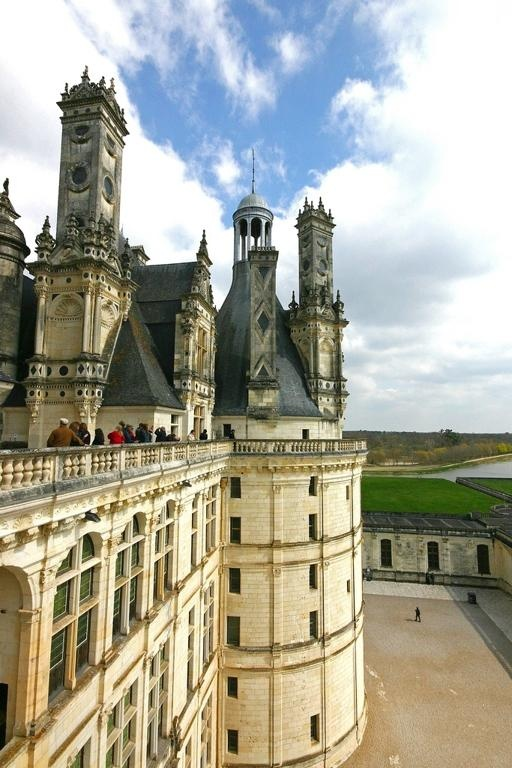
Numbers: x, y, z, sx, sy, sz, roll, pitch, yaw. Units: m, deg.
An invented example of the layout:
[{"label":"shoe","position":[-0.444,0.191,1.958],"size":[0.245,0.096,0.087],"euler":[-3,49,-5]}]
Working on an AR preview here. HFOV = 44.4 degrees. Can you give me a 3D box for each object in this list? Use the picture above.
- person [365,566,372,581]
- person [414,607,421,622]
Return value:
[{"label":"person","position":[10.213,17.247,56.823],"size":[0.592,1.114,0.238],"euler":[1,1,26]},{"label":"person","position":[12.048,17.024,46.618],"size":[0.438,1.109,1.863],"euler":[0,2,17]}]
